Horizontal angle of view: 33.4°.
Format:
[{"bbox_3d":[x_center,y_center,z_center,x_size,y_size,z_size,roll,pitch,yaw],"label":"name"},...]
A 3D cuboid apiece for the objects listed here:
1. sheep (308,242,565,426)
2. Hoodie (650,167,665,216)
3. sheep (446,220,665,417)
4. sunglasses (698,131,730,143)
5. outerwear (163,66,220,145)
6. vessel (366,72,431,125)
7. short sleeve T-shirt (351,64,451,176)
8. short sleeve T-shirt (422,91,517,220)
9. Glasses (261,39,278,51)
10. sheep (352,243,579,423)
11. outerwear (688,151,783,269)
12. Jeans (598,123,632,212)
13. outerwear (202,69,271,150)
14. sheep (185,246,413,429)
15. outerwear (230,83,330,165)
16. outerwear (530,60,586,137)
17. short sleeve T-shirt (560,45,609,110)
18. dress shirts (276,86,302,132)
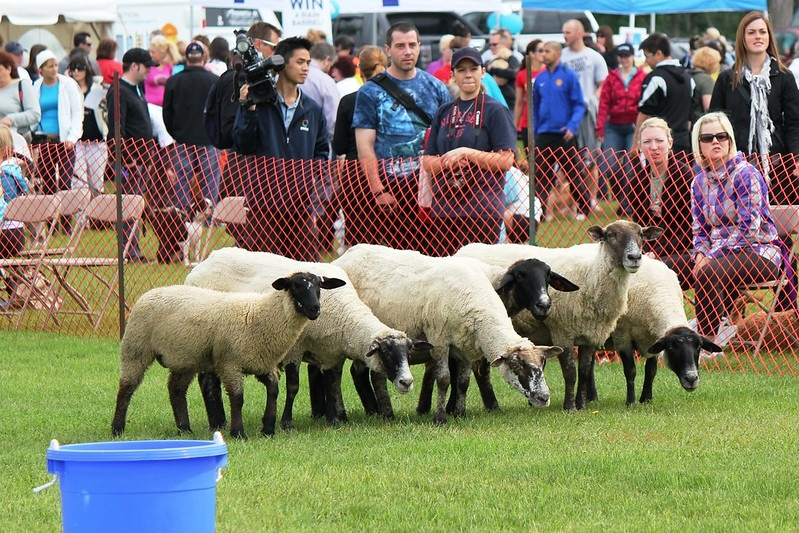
[{"bbox_3d":[0.534,0.955,15.748,3.114,1.894,1.034,6,4,43],"label":"sheep"},{"bbox_3d":[3.477,-0.963,17.825,0.143,0.584,0.327,-5,6,-34],"label":"Hoodie"},{"bbox_3d":[1.928,0.756,16.616,1.105,2.221,3.146,8,-7,-35],"label":"sheep"},{"bbox_3d":[4.083,-1.656,17.263,0.385,0.127,0.096,0,5,13],"label":"sunglasses"},{"bbox_3d":[-3.521,-2.477,21.980,1.019,1.381,0.681,6,-10,-36],"label":"outerwear"},{"bbox_3d":[-0.036,-2.208,17.614,0.873,0.183,0.117,45,-9,-6],"label":"vessel"},{"bbox_3d":[0.038,-1.932,17.929,1.454,1.453,0.757,-5,26,-19],"label":"short sleeve T-shirt"},{"bbox_3d":[0.860,-1.393,17.143,1.569,1.916,0.966,0,-1,28],"label":"short sleeve T-shirt"},{"bbox_3d":[-1.741,-2.958,17.912,0.197,0.135,0.210,-1,5,7],"label":"Glasses"},{"bbox_3d":[0.561,0.869,15.888,1.109,1.985,3.303,-6,9,-42],"label":"sheep"},{"bbox_3d":[4.393,-0.642,17.658,0.988,1.668,1.189,-6,0,-28],"label":"outerwear"},{"bbox_3d":[3.458,-1.452,20.637,0.311,1.369,0.334,5,14,-38],"label":"Jeans"},{"bbox_3d":[-2.167,-2.294,18.088,0.802,1.482,1.346,3,0,0],"label":"outerwear"},{"bbox_3d":[-1.133,0.923,15.747,3.118,1.800,0.990,8,6,35],"label":"sheep"},{"bbox_3d":[-1.569,-1.759,17.469,1.392,1.231,0.828,1,2,-13],"label":"outerwear"},{"bbox_3d":[2.736,-2.864,23.302,0.974,1.392,0.470,6,12,41],"label":"outerwear"},{"bbox_3d":[3.291,-3.310,23.776,1.092,1.452,0.562,2,15,23],"label":"short sleeve T-shirt"},{"bbox_3d":[-1.455,-1.987,17.307,0.329,0.474,0.483,1,20,-5],"label":"dress shirts"}]
